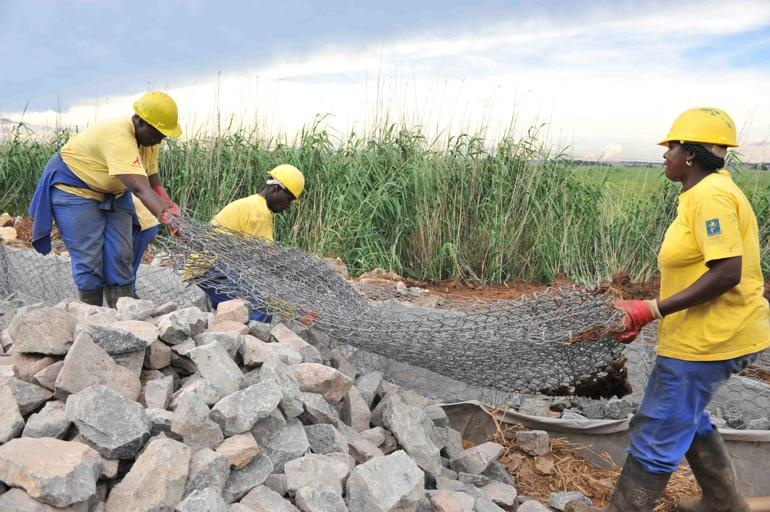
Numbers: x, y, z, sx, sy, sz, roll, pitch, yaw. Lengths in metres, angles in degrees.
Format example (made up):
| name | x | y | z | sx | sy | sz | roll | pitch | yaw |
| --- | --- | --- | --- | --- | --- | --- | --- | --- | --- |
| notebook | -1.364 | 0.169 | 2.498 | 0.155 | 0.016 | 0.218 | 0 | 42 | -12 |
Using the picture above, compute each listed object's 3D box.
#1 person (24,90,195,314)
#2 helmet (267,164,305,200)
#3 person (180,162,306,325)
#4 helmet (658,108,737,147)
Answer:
| name | x | y | z | sx | sy | sz | roll | pitch | yaw |
| --- | --- | --- | --- | --- | --- | --- | --- | --- | --- |
| person | -2.272 | -0.445 | 4.899 | 1.417 | 1.807 | 0.600 | 8 | 19 | 19 |
| helmet | -0.867 | -0.714 | 5.359 | 0.355 | 0.208 | 0.276 | 33 | 14 | -7 |
| person | -1.171 | -0.148 | 5.204 | 0.787 | 1.270 | 1.181 | 2 | 17 | 1 |
| helmet | 1.882 | -0.775 | 3.516 | 0.436 | 0.210 | 0.346 | 9 | 10 | 33 |
